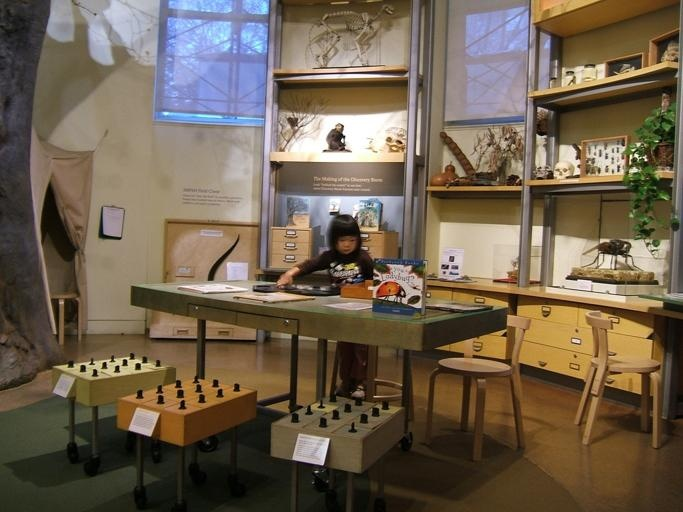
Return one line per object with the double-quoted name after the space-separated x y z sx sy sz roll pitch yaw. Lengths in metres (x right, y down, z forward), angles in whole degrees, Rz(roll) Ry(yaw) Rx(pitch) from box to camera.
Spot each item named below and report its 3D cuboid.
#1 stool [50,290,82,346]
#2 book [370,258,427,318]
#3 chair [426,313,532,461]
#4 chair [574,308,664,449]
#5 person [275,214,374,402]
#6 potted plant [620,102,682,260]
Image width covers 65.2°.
-3.326 0.724 6.529 0.313 0.577 0.719 -9 15 -29 "stool"
0.330 0.187 3.045 0.330 0.301 0.061 -1 -6 35 "book"
1.016 0.942 4.008 0.666 0.930 0.656 1 0 39 "chair"
2.199 0.984 4.268 0.646 0.901 0.636 0 -5 31 "chair"
-0.040 0.389 4.038 0.869 1.343 0.603 -8 7 -24 "person"
2.834 -0.660 4.901 0.443 1.411 0.920 6 15 27 "potted plant"
